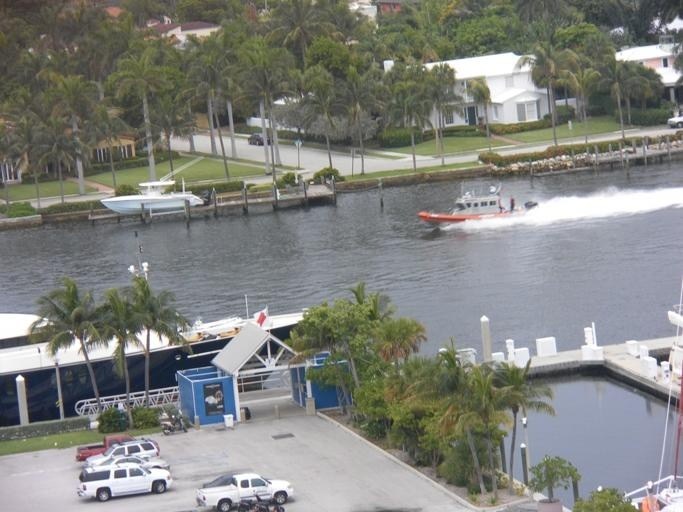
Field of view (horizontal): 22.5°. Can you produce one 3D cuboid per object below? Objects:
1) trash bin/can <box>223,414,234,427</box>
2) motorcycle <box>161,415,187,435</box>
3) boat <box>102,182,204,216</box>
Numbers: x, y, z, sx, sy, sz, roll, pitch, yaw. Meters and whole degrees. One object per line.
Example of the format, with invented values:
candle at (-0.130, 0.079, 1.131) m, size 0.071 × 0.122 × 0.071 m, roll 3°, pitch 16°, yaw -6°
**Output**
trash bin/can at (-9.326, 13.527, 139.068) m, size 0.812 × 0.986 × 0.891 m, roll 0°, pitch 11°, yaw -10°
motorcycle at (-13.769, 13.809, 139.372) m, size 1.991 × 1.462 × 1.524 m, roll -8°, pitch 3°, yaw 4°
boat at (-21.426, -5.530, 194.773) m, size 11.748 × 4.618 × 4.652 m, roll -3°, pitch 3°, yaw -12°
